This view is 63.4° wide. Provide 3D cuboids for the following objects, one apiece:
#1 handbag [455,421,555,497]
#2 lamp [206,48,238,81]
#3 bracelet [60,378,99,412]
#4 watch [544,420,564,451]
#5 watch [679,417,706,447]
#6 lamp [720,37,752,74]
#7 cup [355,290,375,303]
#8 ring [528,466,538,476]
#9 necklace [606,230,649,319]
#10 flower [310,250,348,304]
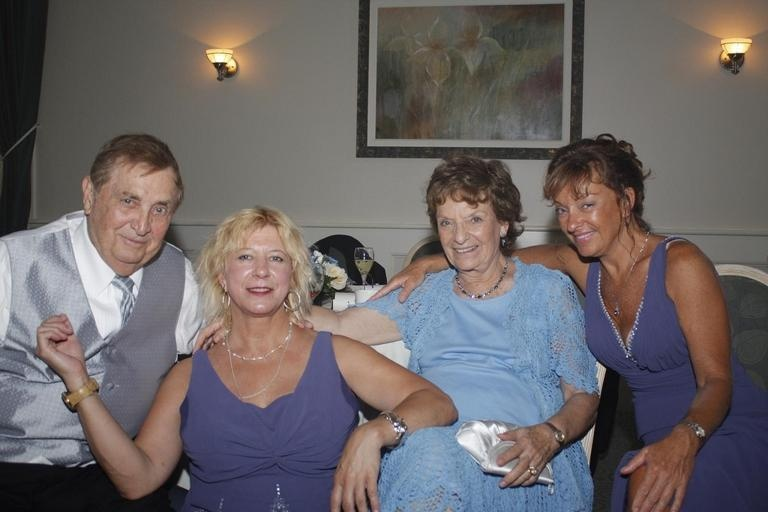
[{"bbox_3d":[0.502,0.816,2.612,0.317,0.119,0.325,29,-4,10],"label":"handbag"},{"bbox_3d":[-1.541,-1.834,6.087,0.266,0.345,0.310,3,4,24],"label":"lamp"},{"bbox_3d":[-1.258,0.578,2.579,0.112,0.081,0.117,-35,5,-16],"label":"bracelet"},{"bbox_3d":[0.738,0.761,2.633,0.068,0.112,0.104,-28,0,-24],"label":"watch"},{"bbox_3d":[1.291,0.731,2.583,0.099,0.098,0.047,4,13,30],"label":"watch"},{"bbox_3d":[3.241,-1.830,5.715,0.244,0.315,0.253,-11,16,-20],"label":"lamp"},{"bbox_3d":[-0.107,0.217,3.340,0.074,0.059,0.077,-1,-3,0],"label":"cup"},{"bbox_3d":[0.613,0.885,2.549,0.034,0.036,0.016,6,-22,-16],"label":"ring"},{"bbox_3d":[1.167,0.090,2.967,0.138,0.444,0.065,11,-4,42],"label":"necklace"},{"bbox_3d":[-0.299,0.073,3.468,0.140,0.238,0.246,11,-24,8],"label":"flower"}]
